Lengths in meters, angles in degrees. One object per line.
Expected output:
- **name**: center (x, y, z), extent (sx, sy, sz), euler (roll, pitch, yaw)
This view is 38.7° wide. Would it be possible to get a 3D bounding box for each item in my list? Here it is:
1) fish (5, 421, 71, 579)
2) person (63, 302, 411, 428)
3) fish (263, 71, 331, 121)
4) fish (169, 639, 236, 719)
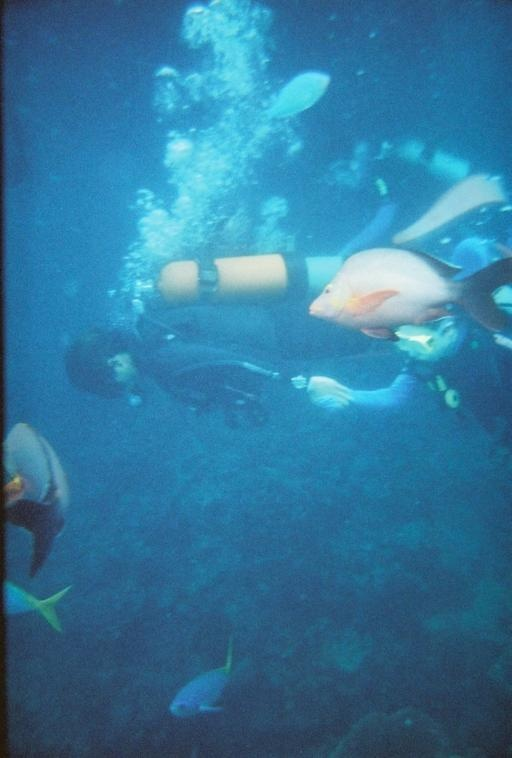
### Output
- **fish**: center (-0.581, 0.310, 1.897), extent (0.162, 0.378, 0.100), euler (3, 13, 24)
- **person**: center (0.062, -0.034, 2.099), extent (1.161, 0.313, 0.311), euler (-2, -6, -6)
- **fish**: center (0.114, -0.737, 1.944), extent (0.172, 0.094, 0.039), euler (-34, -6, 5)
- **fish**: center (-0.131, 0.771, 1.901), extent (0.213, 0.118, 0.078), euler (-23, 11, -27)
